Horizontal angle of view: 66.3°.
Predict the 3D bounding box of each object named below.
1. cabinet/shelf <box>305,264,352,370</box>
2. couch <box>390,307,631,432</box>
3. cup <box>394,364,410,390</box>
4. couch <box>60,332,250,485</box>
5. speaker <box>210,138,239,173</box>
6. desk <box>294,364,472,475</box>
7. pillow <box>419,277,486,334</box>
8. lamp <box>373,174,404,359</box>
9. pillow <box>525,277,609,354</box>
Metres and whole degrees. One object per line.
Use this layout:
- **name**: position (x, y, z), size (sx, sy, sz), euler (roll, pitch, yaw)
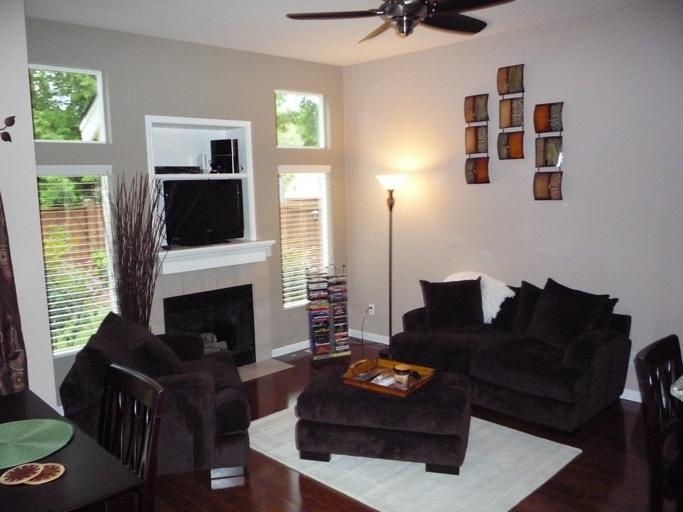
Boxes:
- **cabinet/shelf**: position (-0.151, 0.692, 6.033), size (0.453, 1.001, 0.425), euler (-3, 11, -4)
- **couch**: position (1.748, 0.984, 4.688), size (0.967, 0.818, 1.657), euler (3, -1, -43)
- **cup**: position (0.495, 0.934, 4.067), size (0.139, 0.156, 0.140), euler (0, 8, 0)
- **couch**: position (-1.323, 0.996, 3.823), size (1.152, 0.876, 1.187), euler (-4, 9, -26)
- **speaker**: position (-1.186, -1.104, 5.763), size (0.396, 0.427, 0.248), euler (-2, 11, -4)
- **desk**: position (0.317, 1.267, 4.024), size (1.258, 0.531, 0.476), euler (1, 12, 16)
- **pillow**: position (1.126, 0.499, 5.305), size (0.537, 0.495, 0.169), euler (-2, -13, 4)
- **lamp**: position (0.592, 0.066, 6.312), size (0.277, 2.096, 0.686), euler (-1, 11, 4)
- **pillow**: position (2.004, 0.521, 4.724), size (0.178, 0.533, 0.561), euler (28, -1, -33)
